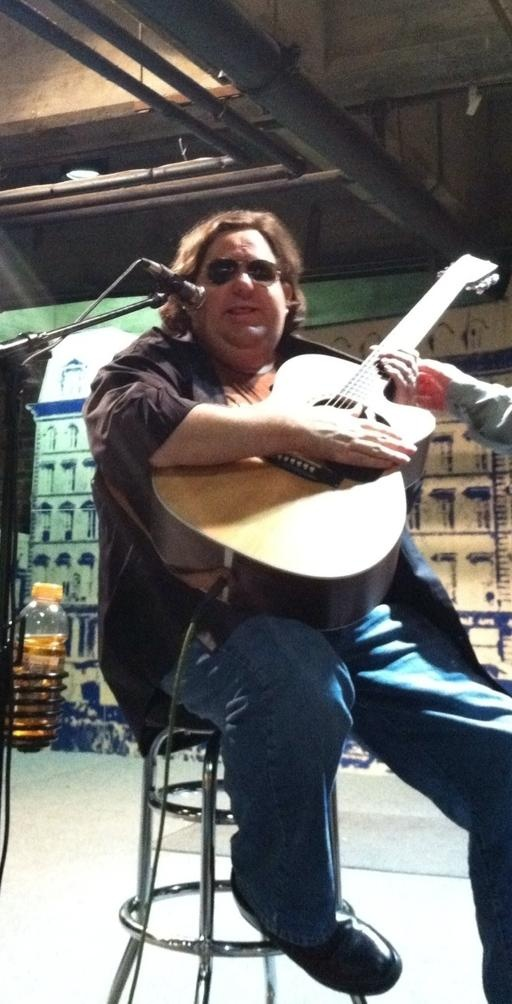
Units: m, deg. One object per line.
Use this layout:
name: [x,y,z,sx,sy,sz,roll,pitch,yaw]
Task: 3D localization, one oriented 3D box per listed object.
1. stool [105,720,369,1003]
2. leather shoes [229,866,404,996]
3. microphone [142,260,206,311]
stool: [-0.083,0.659,2.100,0.578,0.803,0.553,1,-1,-14]
leather shoes: [0.077,0.735,1.579,0.327,0.131,0.119,27,40,28]
microphone: [-0.185,-0.490,2.107,0.185,0.070,0.064,29,21,-51]
